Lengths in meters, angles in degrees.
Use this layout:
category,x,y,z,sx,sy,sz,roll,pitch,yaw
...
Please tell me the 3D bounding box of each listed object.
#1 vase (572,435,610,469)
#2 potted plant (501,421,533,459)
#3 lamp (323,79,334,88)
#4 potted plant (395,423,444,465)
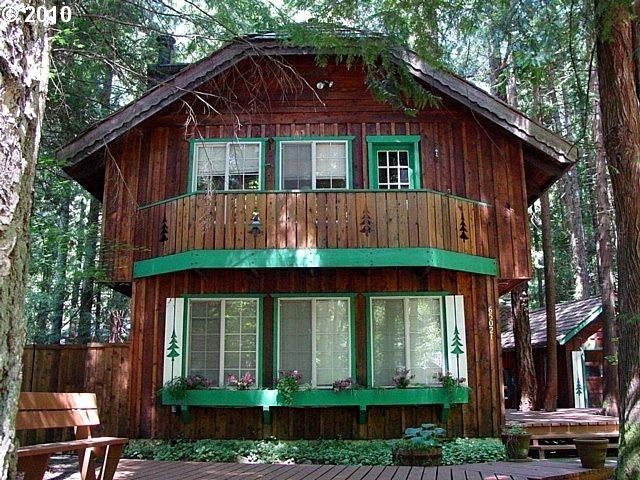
category,x,y,z,sx,sy,sz,roll,pitch,yaw
vase,4.590,3.561,9.833,0.560,0.473,0.576,-6,-19,24
potted plant,3.813,3.885,11.219,0.618,0.735,0.619,10,-16,-16
lamp,0.197,-3.758,13.817,0.196,0.149,0.072,12,-5,9
potted plant,1.754,3.696,10.510,0.652,0.425,0.829,2,-15,-3
